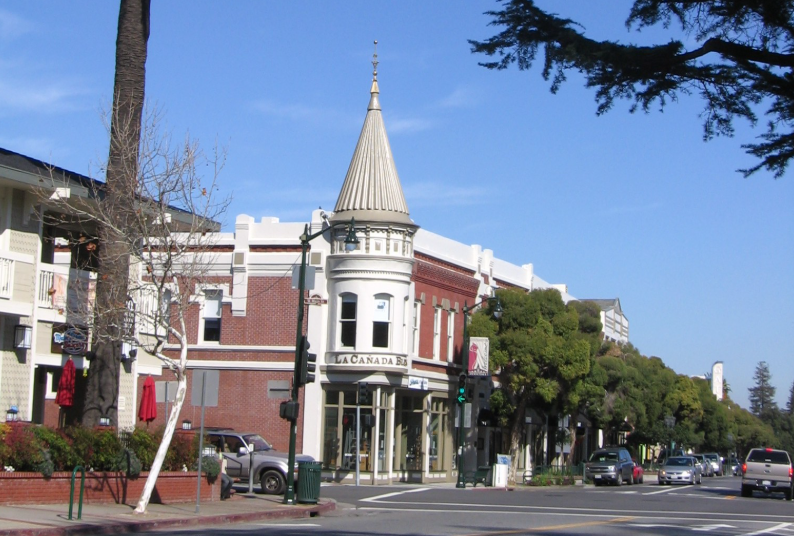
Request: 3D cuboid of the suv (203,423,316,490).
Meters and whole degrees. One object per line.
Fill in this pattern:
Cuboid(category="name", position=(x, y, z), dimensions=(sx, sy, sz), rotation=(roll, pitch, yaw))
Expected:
Cuboid(category="suv", position=(-4.981, 6.977, 39.196), dimensions=(5.114, 2.072, 2.206), rotation=(-3, -8, 17))

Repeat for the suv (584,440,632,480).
Cuboid(category="suv", position=(12.185, 11.118, 60.586), dimensions=(1.705, 2.249, 4.385), rotation=(-4, -16, 27))

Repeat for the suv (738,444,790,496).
Cuboid(category="suv", position=(16.548, 9.076, 47.675), dimensions=(2.224, 2.291, 1.168), rotation=(0, -13, 11))
